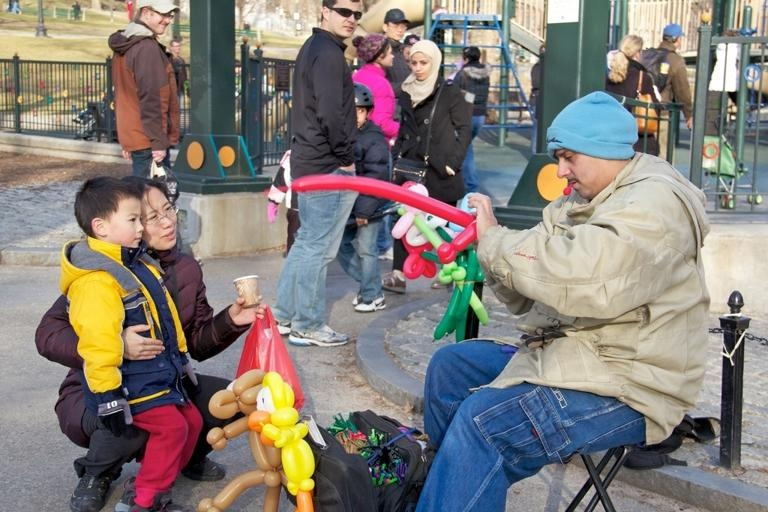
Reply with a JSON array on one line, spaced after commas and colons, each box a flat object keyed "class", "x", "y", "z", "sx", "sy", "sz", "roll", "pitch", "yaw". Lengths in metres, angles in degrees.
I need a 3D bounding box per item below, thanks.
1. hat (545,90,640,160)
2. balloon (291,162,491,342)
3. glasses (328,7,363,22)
[{"class": "hat", "x": 1.050, "y": -0.674, "z": 3.501, "sx": 0.427, "sy": 0.309, "sz": 0.313, "roll": 7, "pitch": 14, "yaw": -4}, {"class": "balloon", "x": 0.029, "y": -0.212, "z": 4.530, "sx": 1.428, "sy": 0.748, "sz": 1.641, "roll": 15, "pitch": 7, "yaw": -6}, {"class": "glasses", "x": -0.311, "y": -2.102, "z": 5.885, "sx": 0.305, "sy": 0.084, "sz": 0.139, "roll": -5, "pitch": 12, "yaw": -31}]
